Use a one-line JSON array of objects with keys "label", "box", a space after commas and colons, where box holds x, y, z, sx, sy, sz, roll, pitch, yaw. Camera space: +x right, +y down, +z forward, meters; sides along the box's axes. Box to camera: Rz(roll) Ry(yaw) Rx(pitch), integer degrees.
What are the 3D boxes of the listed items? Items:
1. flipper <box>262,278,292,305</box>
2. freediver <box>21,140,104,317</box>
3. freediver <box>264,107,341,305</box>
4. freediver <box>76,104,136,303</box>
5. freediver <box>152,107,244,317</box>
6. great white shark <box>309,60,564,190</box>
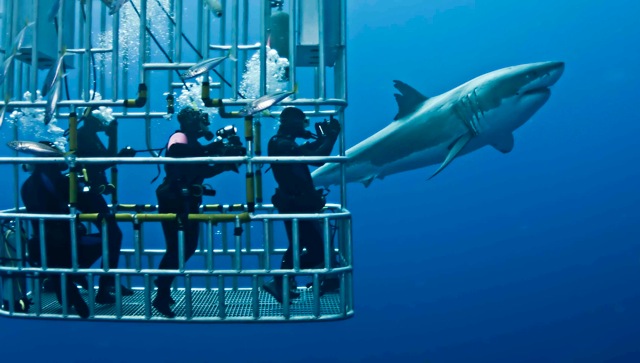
[{"label": "flipper", "box": [-0.823, 2.042, 20.713, 0.372, 0.401, 0.352, -2, -7, 11]}, {"label": "freediver", "box": [-4.794, 0.803, 21.097, 1.581, 3.031, 1.253, 4, 0, -6]}, {"label": "freediver", "box": [-0.279, 0.430, 21.493, 1.816, 3.738, 1.114, 2, 1, 5]}, {"label": "freediver", "box": [-4.107, 0.491, 21.118, 1.033, 3.344, 1.114, 5, 0, 13]}, {"label": "freediver", "box": [-2.330, 0.557, 20.527, 1.504, 3.831, 0.717, -2, -8, 9]}, {"label": "great white shark", "box": [2.726, -1.214, 23.179, 6.827, 1.592, 1.975, -16, 20, 11]}]
